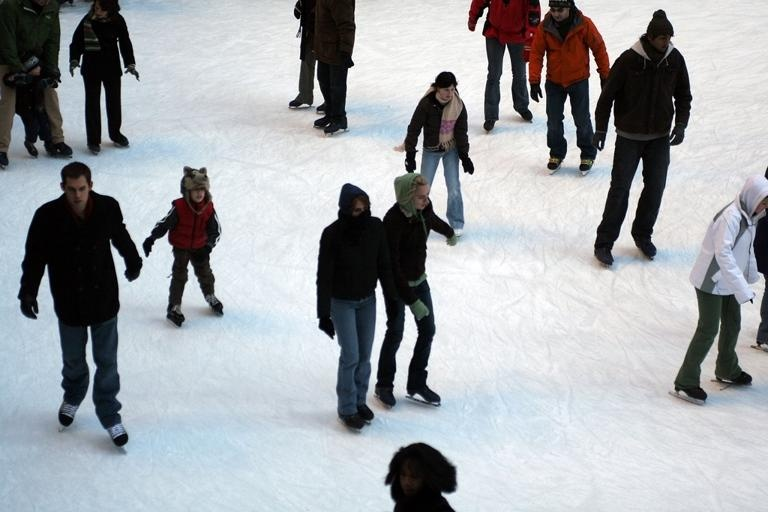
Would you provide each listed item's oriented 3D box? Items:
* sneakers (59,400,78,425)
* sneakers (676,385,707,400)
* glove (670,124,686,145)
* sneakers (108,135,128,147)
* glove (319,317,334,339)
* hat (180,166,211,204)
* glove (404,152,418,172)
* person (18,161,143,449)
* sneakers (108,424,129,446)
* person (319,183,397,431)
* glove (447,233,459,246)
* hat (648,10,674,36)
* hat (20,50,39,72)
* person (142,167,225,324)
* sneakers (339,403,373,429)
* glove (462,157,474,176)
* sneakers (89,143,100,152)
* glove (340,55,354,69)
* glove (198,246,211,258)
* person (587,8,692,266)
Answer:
[{"bbox_3d":[-2.814,1.417,5.816,0.100,0.114,0.288,4,36,-36],"label":"sneakers"},{"bbox_3d":[3.017,1.346,6.453,0.307,0.127,0.112,7,25,27],"label":"sneakers"},{"bbox_3d":[3.544,-1.456,7.885,0.208,0.268,0.074,9,-12,21],"label":"glove"},{"bbox_3d":[-4.114,-1.777,10.049,0.287,0.269,0.147,-1,63,-12],"label":"sneakers"},{"bbox_3d":[-0.496,0.619,5.684,0.130,0.250,0.213,-4,22,-6],"label":"glove"},{"bbox_3d":[-2.024,-0.792,7.020,0.369,0.360,0.305,6,10,32],"label":"hat"},{"bbox_3d":[0.334,-1.166,8.129,0.108,0.245,0.259,-3,22,-2],"label":"glove"},{"bbox_3d":[-2.580,0.389,5.610,0.819,2.373,0.737,4,23,15],"label":"person"},{"bbox_3d":[-2.283,1.564,5.608,0.126,0.093,0.230,-19,43,-19],"label":"sneakers"},{"bbox_3d":[-0.266,0.469,5.817,0.468,2.171,0.745,18,30,40],"label":"person"},{"bbox_3d":[0.737,-0.176,6.992,0.129,0.155,0.142,4,-3,13],"label":"glove"},{"bbox_3d":[3.143,-2.658,7.418,0.264,0.288,0.276,18,29,39],"label":"hat"},{"bbox_3d":[-4.867,-2.655,8.957,0.258,0.197,0.264,0,-9,-34],"label":"hat"},{"bbox_3d":[-2.165,-0.130,7.204,0.746,1.752,0.557,-13,25,-25],"label":"person"},{"bbox_3d":[-0.282,1.471,6.005,0.346,0.143,0.151,9,21,41],"label":"sneakers"},{"bbox_3d":[1.098,-1.145,8.436,0.153,0.254,0.067,3,31,19],"label":"glove"},{"bbox_3d":[-4.380,-1.655,9.858,0.176,0.117,0.093,9,33,27],"label":"sneakers"},{"bbox_3d":[-0.592,-3.092,10.253,0.220,0.210,0.160,-8,23,-15],"label":"glove"},{"bbox_3d":[-1.992,-0.044,7.255,0.119,0.132,0.104,46,53,6],"label":"glove"},{"bbox_3d":[3.142,-1.417,7.962,1.068,2.996,0.557,-5,23,-8],"label":"person"}]
